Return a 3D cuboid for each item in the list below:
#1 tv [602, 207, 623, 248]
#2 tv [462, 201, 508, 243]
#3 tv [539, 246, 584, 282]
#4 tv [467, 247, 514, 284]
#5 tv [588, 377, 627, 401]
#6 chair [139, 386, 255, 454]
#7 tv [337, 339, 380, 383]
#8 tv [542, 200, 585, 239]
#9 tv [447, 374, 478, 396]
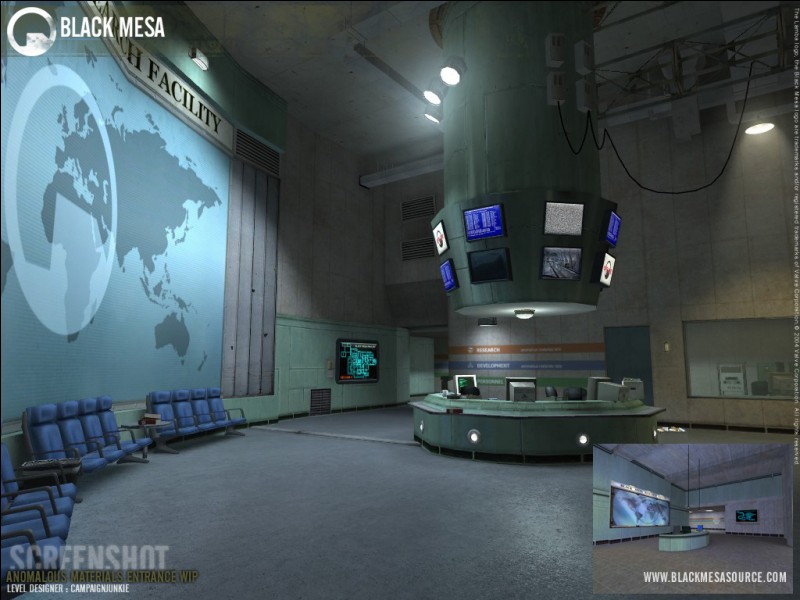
[{"bbox_3d":[3.537,-1.190,8.793,0.136,0.619,0.779,0,-1,32],"label":"tv"},{"bbox_3d":[1.371,-1.240,8.380,0.655,0.524,0.088,0,4,38],"label":"tv"},{"bbox_3d":[2.480,-0.573,8.241,0.513,0.402,0.055,2,1,-7],"label":"tv"},{"bbox_3d":[1.464,-0.559,8.401,0.546,0.474,0.078,-5,-2,40],"label":"tv"},{"bbox_3d":[3.465,1.541,8.899,0.429,0.333,0.978,0,-1,6],"label":"tv"},{"bbox_3d":[-3.753,2.015,9.357,0.641,0.946,2.186,0,-1,17],"label":"chair"},{"bbox_3d":[-1.231,1.723,15.086,0.062,1.317,1.691,0,-1,38],"label":"tv"},{"bbox_3d":[2.498,-1.267,8.187,0.548,0.483,0.058,0,5,-10],"label":"tv"},{"bbox_3d":[1.236,1.648,10.068,0.389,0.391,1.004,0,-1,15],"label":"tv"}]
